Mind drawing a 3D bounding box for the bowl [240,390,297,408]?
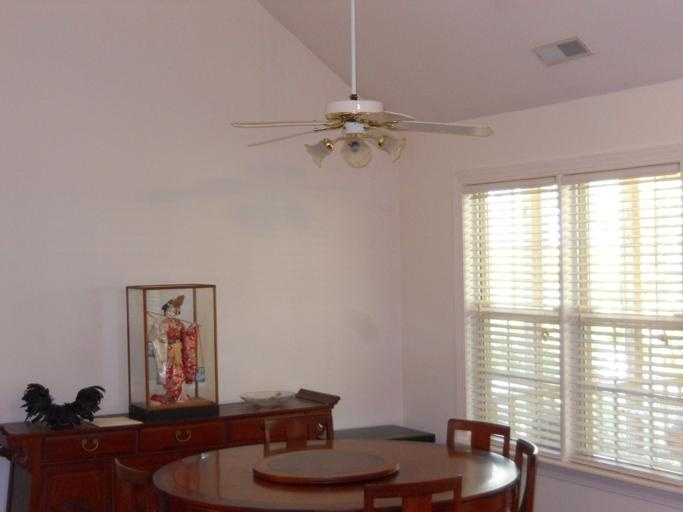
[{"bbox_3d":[-0.560,1.056,4.930,0.382,0.081,0.499,-1,-3,-8],"label":"bowl"}]
